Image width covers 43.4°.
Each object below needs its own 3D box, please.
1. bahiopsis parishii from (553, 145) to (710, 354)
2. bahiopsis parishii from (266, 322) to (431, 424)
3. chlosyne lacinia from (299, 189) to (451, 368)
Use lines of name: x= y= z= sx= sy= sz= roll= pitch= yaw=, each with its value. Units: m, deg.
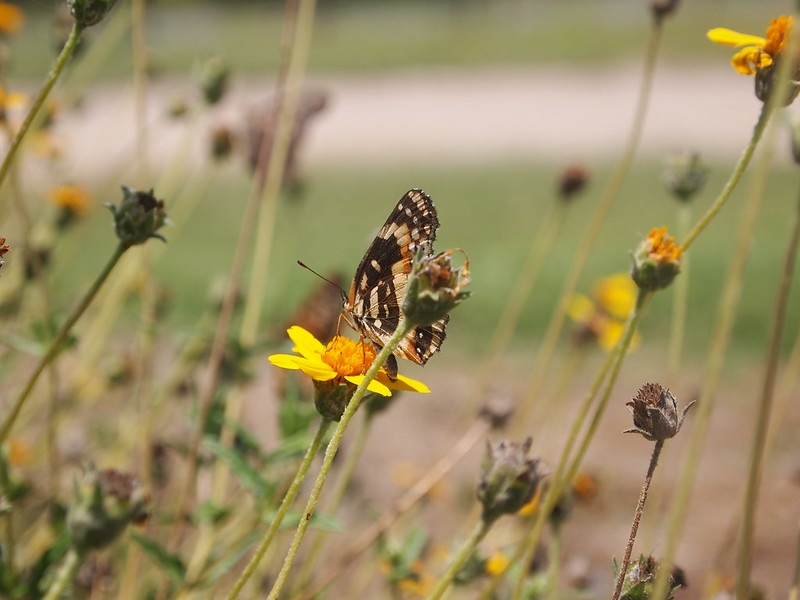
bahiopsis parishii: x=0.546 y=-0.080 z=2.404 sx=0.209 sy=0.424 sz=0.810 roll=6 pitch=-5 yaw=4
bahiopsis parishii: x=-0.094 y=0.156 z=1.855 sx=0.289 sy=0.160 sz=0.338 roll=12 pitch=-5 yaw=-29
chlosyne lacinia: x=-0.020 y=-0.044 z=2.008 sx=0.229 sy=0.406 sz=0.429 roll=11 pitch=15 yaw=-4
